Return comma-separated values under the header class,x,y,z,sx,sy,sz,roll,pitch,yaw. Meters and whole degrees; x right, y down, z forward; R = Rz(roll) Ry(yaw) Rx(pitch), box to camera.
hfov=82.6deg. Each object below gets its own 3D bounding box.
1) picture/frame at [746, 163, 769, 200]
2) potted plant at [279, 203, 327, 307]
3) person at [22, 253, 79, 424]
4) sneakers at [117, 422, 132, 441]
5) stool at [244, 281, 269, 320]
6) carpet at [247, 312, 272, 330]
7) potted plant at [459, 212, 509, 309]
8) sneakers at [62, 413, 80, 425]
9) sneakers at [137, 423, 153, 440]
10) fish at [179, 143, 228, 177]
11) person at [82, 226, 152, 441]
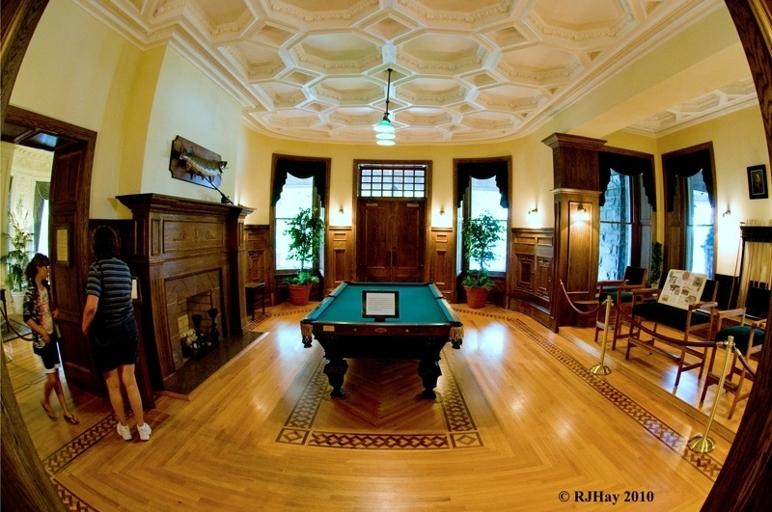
class,x,y,z,sx,sy,sz,roll,pitch,yaw
picture/frame,7.058,-1.406,8.340,0.089,0.663,0.364,-1,3,-23
potted plant,-1.973,-0.002,10.704,0.973,2.328,0.698,-1,3,-24
person,-4.526,1.087,5.981,0.548,2.244,0.569,-1,3,-25
sneakers,-3.404,2.271,5.743,0.278,0.121,0.140,20,-4,30
stool,-2.975,0.958,9.690,0.613,0.741,0.749,0,4,0
carpet,-2.619,1.350,9.137,0.472,0.134,1.076,0,3,-17
potted plant,2.326,0.085,10.700,1.002,2.284,0.767,2,4,31
sneakers,-4.224,2.185,5.901,0.251,0.070,0.102,14,12,27
sneakers,-3.148,2.296,5.739,0.126,0.105,0.253,8,-10,-43
fish,-3.044,-1.544,7.382,0.135,0.433,1.022,1,3,17
person,-3.501,1.002,5.764,0.743,2.750,0.379,0,3,-8
